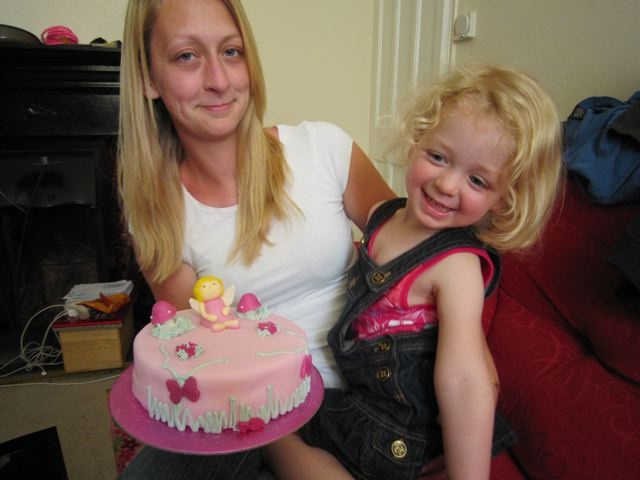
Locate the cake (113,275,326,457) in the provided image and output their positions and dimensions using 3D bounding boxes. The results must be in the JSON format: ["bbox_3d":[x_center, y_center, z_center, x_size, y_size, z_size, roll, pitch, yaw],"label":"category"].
[{"bbox_3d":[-0.284,0.385,1.470,0.492,0.251,0.518,-4,20,-21],"label":"cake"}]
